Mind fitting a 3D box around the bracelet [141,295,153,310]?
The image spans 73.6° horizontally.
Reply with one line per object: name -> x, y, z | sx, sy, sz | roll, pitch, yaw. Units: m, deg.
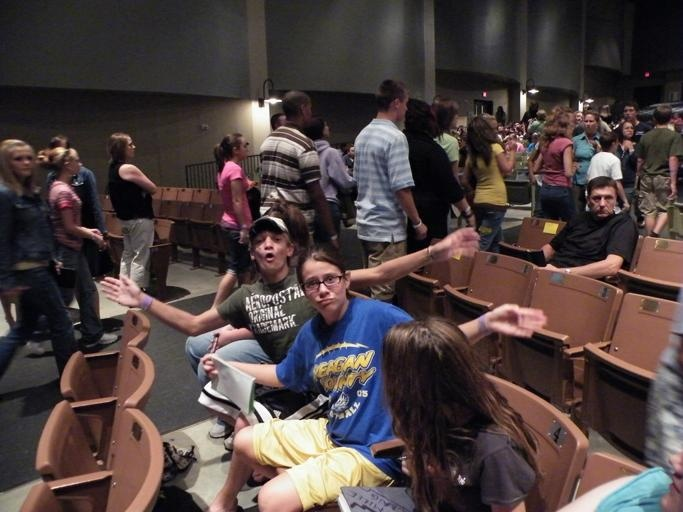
bracelet -> -0.985, 0.234, 2.291 | 0.058, 0.060, 0.069 | 10, 1, 5

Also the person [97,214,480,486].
person -> -0.348, 0.453, 2.292 | 1.854, 1.467, 0.728 | -1, -6, 14

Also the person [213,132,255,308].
person -> -1.171, -0.361, 5.203 | 0.609, 1.960, 0.683 | -1, 7, 2

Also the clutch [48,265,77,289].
clutch -> -2.250, 0.177, 3.696 | 0.152, 0.156, 0.037 | 3, 15, -14

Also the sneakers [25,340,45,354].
sneakers -> -3.038, 0.915, 4.500 | 0.201, 0.119, 0.124 | 3, 7, 42

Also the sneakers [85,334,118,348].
sneakers -> -2.393, 0.834, 4.510 | 0.264, 0.127, 0.108 | -11, 16, -31

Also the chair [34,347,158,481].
chair -> -1.171, 0.751, 2.169 | 0.405, 0.725, 0.687 | 3, 7, -25

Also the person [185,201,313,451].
person -> -0.438, 0.371, 2.335 | 0.669, 1.295, 0.567 | 2, -1, -33

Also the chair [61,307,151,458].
chair -> -1.289, 0.669, 2.458 | 0.421, 0.748, 0.527 | 5, 22, -21
